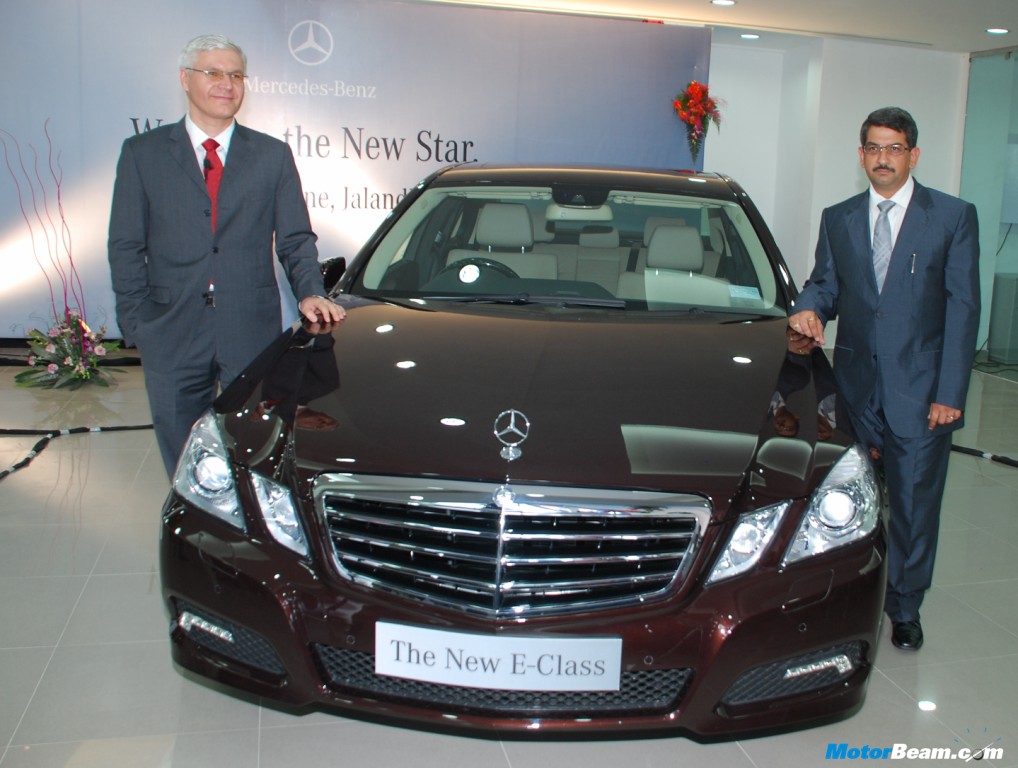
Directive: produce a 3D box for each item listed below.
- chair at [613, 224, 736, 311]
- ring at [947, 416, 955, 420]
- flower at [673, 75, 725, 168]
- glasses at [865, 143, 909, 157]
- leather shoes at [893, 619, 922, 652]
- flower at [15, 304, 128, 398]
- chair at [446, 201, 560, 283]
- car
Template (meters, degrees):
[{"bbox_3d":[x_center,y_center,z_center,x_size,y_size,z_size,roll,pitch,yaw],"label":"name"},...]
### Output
[{"bbox_3d":[0.543,-0.396,2.294,0.378,0.241,0.183,2,24,7],"label":"chair"},{"bbox_3d":[1.350,0.105,2.081,0.019,0.013,0.006,-40,-1,37],"label":"ring"},{"bbox_3d":[1.924,-2.501,6.738,0.446,0.402,0.578,6,65,15],"label":"flower"},{"bbox_3d":[1.123,-0.704,2.039,0.112,0.037,0.033,7,12,25],"label":"glasses"},{"bbox_3d":[1.278,0.808,2.184,0.063,0.045,0.112,-1,4,12],"label":"leather shoes"},{"bbox_3d":[-3.506,-0.263,5.378,0.757,0.456,0.721,5,41,-24],"label":"flower"},{"bbox_3d":[-0.008,-0.498,2.396,0.311,0.270,0.301,2,10,6],"label":"chair"},{"bbox_3d":[0.099,-0.010,1.814,1.159,0.700,1.871,3,18,4],"label":"car"}]
